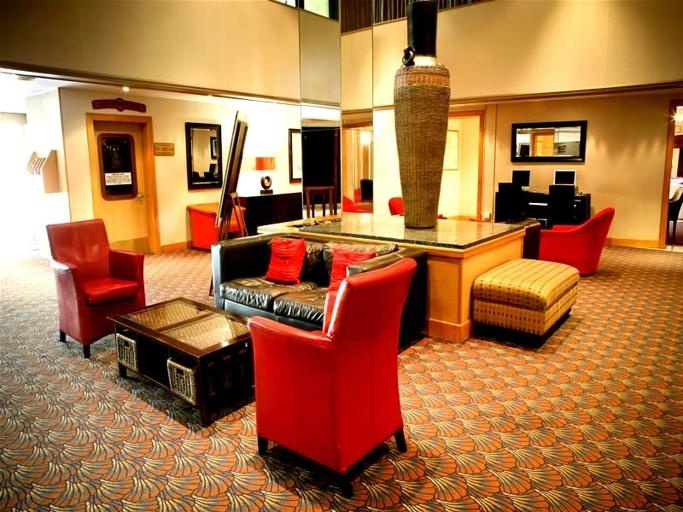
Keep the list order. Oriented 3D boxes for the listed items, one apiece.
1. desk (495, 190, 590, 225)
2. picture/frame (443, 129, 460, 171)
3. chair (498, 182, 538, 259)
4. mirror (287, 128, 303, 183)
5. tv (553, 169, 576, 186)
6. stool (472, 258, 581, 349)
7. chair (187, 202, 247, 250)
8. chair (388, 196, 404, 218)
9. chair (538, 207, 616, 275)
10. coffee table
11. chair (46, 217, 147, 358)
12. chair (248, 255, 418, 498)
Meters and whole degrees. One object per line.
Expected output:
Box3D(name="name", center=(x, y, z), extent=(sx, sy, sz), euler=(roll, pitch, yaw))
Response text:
Box3D(name="desk", center=(3.561, -0.717, 9.057), extent=(1.305, 0.776, 0.408), euler=(3, -7, 19))
Box3D(name="picture/frame", center=(2.717, -2.560, 12.024), extent=(0.204, 0.987, 0.980), euler=(7, 16, 25))
Box3D(name="chair", center=(2.367, -0.469, 6.467), extent=(0.584, 0.879, 1.153), euler=(3, 14, 11))
Box3D(name="mirror", center=(-1.115, -2.300, 11.372), extent=(0.116, 1.255, 0.357), euler=(9, 17, 33))
Box3D(name="tv", center=(4.246, -1.459, 9.214), extent=(0.363, 0.254, 0.536), euler=(3, 15, 12))
Box3D(name="stool", center=(1.887, 0.460, 5.055), extent=(0.710, 0.634, 1.036), euler=(12, 18, 39))
Box3D(name="chair", center=(-2.514, -0.518, 9.194), extent=(0.771, 0.740, 0.643), euler=(9, -1, -22))
Box3D(name="chair", center=(0.933, -0.828, 8.385), extent=(0.310, 0.393, 0.341), euler=(-2, 4, 2))
Box3D(name="chair", center=(3.328, -0.194, 7.225), extent=(1.080, 1.198, 0.929), euler=(9, 14, 35))
Box3D(name="coffee table", center=(-1.336, 0.851, 4.248), extent=(1.321, 0.599, 0.764), euler=(11, 17, 36))
Box3D(name="chair", center=(-2.556, 0.303, 5.045), extent=(0.722, 1.215, 0.760), euler=(8, 14, 28))
Box3D(name="chair", center=(-0.030, 0.700, 3.384), extent=(0.893, 1.329, 0.837), euler=(7, 13, 35))
